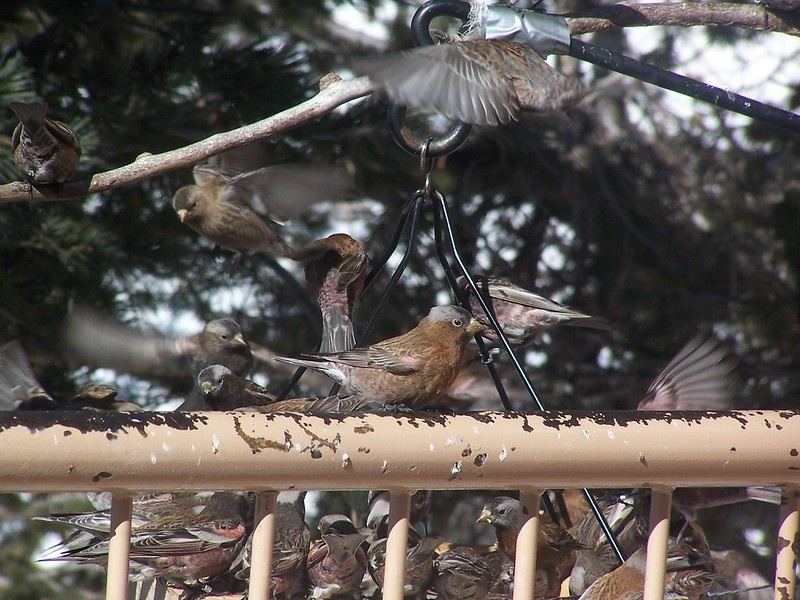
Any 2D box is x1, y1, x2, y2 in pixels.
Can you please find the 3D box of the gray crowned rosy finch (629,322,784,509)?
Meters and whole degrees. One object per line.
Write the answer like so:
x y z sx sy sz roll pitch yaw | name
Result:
0.877 0.329 5.003 0.373 0.432 0.402 6 -19 -15 | gray crowned rosy finch

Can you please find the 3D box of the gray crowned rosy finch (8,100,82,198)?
-0.944 -0.403 4.984 0.104 0.331 0.133 -16 22 -13 | gray crowned rosy finch

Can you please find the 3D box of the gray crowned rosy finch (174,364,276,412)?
-0.475 0.249 5.130 0.149 0.088 0.208 -1 12 14 | gray crowned rosy finch

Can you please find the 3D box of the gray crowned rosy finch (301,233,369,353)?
-0.164 -0.040 5.256 0.128 0.382 0.152 -4 -26 23 | gray crowned rosy finch

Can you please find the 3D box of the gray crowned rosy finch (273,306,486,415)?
-0.059 0.164 5.055 0.583 0.291 0.247 2 -6 12 | gray crowned rosy finch

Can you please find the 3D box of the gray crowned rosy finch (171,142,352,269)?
-0.399 -0.250 5.298 0.357 0.179 0.445 -19 -3 -22 | gray crowned rosy finch

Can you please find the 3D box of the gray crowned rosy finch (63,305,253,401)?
-0.665 0.156 5.226 0.343 0.183 0.364 2 4 20 | gray crowned rosy finch

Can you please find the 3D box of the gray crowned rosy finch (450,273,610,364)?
0.362 0.044 5.374 0.588 0.256 0.176 8 6 1 | gray crowned rosy finch
